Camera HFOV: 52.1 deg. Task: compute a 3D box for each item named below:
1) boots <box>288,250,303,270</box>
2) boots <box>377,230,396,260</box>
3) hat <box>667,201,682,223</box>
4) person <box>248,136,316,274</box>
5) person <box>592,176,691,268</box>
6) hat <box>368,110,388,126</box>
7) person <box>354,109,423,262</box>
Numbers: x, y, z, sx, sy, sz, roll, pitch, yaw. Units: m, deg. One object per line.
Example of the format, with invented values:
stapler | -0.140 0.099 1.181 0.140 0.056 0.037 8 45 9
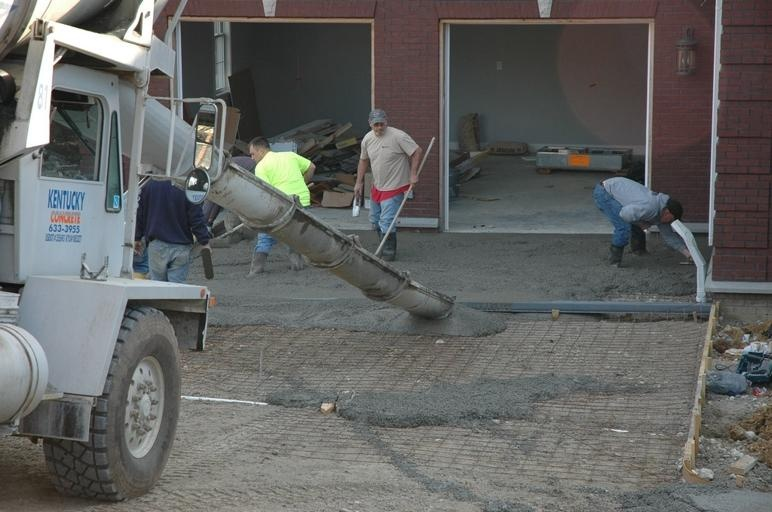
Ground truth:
boots | -1.247 0.040 11.092 0.286 0.325 0.252 0 -1 -3
boots | 0.058 -0.141 10.962 0.318 0.388 0.157 -1 4 -43
hat | 3.653 -0.585 10.026 0.181 0.279 0.343 2 3 18
person | -1.403 -0.693 10.609 0.843 1.911 1.535 1 3 -9
person | 3.330 -0.469 10.390 0.807 1.170 1.350 1 3 -7
hat | -0.117 -1.926 10.861 0.238 0.251 0.283 -2 -1 -3
person | 0.044 -1.129 11.083 0.875 1.744 0.848 1 3 0
